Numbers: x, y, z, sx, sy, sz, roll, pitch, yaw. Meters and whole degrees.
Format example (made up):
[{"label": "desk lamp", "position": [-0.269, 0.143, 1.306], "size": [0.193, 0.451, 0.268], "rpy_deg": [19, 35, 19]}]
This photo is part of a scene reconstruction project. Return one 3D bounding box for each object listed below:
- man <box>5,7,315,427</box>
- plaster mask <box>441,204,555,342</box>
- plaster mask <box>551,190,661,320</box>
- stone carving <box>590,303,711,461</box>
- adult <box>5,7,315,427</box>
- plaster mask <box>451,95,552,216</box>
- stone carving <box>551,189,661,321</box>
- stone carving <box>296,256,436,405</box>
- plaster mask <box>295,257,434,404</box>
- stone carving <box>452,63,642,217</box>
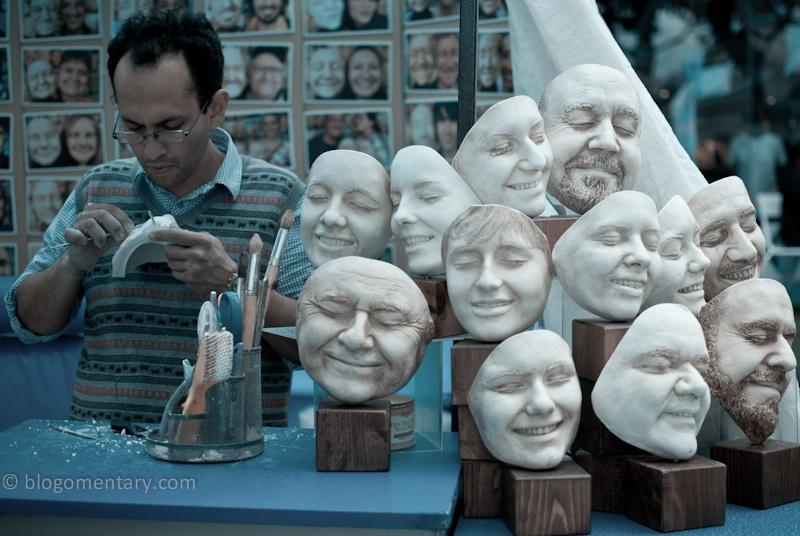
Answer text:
[{"label": "man", "position": [-0.882, -0.154, 3.948], "size": [1.099, 1.507, 0.523], "rpy_deg": [-3, 3, -4]}, {"label": "plaster mask", "position": [0.283, 0.016, 3.444], "size": [0.361, 0.422, 0.253], "rpy_deg": [-3, 4, 19]}, {"label": "plaster mask", "position": [0.690, -0.033, 3.452], "size": [0.351, 0.398, 0.269], "rpy_deg": [4, 1, -23]}, {"label": "stone carving", "position": [0.748, 0.352, 3.322], "size": [0.350, 0.435, 0.268], "rpy_deg": [17, -19, -32]}, {"label": "adult", "position": [-0.882, -0.154, 3.948], "size": [1.100, 1.507, 0.523], "rpy_deg": [-3, 3, -4]}, {"label": "plaster mask", "position": [0.378, -0.359, 3.604], "size": [0.361, 0.377, 0.237], "rpy_deg": [-17, 16, -26]}, {"label": "stone carving", "position": [0.700, -0.029, 3.460], "size": [0.347, 0.396, 0.272], "rpy_deg": [7, -3, -28]}, {"label": "stone carving", "position": [-0.123, 0.194, 3.437], "size": [0.449, 0.453, 0.275], "rpy_deg": [8, 2, 1]}, {"label": "plaster mask", "position": [-0.120, 0.193, 3.440], "size": [0.456, 0.459, 0.270], "rpy_deg": [7, 3, 2]}, {"label": "stone carving", "position": [0.446, -0.366, 3.780], "size": [0.575, 0.782, 0.505], "rpy_deg": [-2, -1, -14]}]
